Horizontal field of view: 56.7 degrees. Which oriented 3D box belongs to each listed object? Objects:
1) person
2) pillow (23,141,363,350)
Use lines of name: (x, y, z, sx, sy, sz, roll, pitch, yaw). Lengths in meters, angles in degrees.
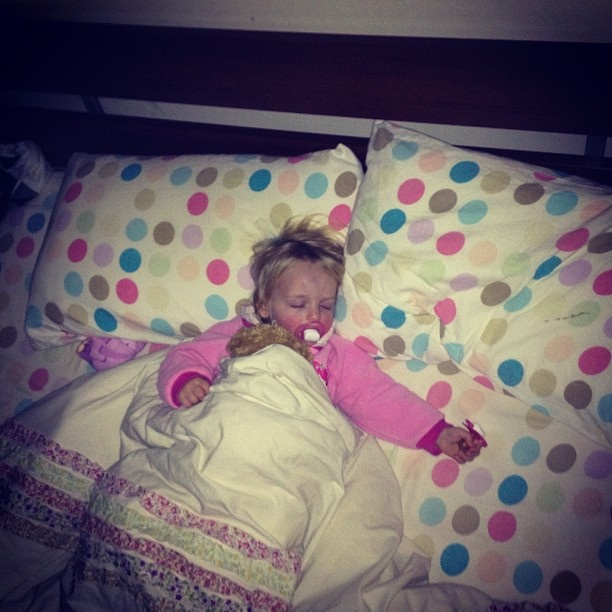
person: (-0.001, 0.120, 1.424, 0.574, 0.344, 0.938, -7, 19, -24)
pillow: (-0.351, -0.178, 1.511, 0.772, 0.567, 0.190, 2, -10, 12)
